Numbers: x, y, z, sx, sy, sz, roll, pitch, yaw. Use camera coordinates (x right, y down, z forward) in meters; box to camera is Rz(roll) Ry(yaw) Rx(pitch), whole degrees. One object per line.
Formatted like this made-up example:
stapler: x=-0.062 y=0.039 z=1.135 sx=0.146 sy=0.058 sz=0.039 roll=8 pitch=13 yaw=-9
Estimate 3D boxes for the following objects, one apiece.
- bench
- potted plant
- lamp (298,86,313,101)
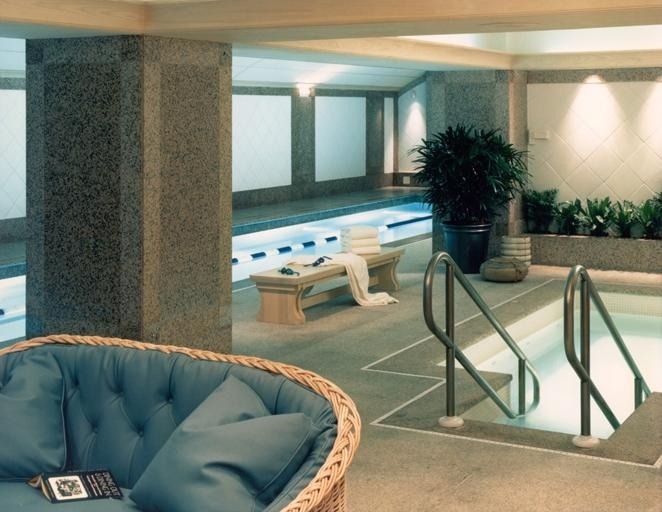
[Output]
bench: x=0.046 y=0.323 z=6.673 sx=0.754 sy=0.713 sz=2.520 roll=4 pitch=11 yaw=39
potted plant: x=3.322 y=-0.838 z=8.159 sx=3.339 sy=1.912 sz=2.740 roll=3 pitch=6 yaw=27
lamp: x=-0.673 y=-4.279 z=13.154 sx=0.436 sy=0.336 sz=0.094 roll=-4 pitch=8 yaw=-37
